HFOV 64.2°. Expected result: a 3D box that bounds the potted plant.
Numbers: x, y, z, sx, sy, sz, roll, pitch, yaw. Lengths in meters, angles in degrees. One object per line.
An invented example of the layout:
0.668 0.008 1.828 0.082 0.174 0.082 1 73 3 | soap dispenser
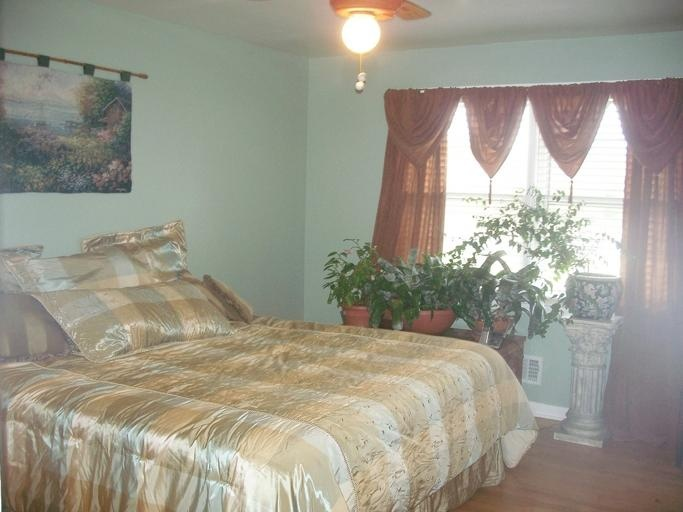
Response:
0.923 0.051 4.244 1.965 1.205 1.096 0 7 12 | potted plant

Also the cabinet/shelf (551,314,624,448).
1.702 0.850 3.799 0.339 0.857 0.401 8 14 29 | cabinet/shelf
